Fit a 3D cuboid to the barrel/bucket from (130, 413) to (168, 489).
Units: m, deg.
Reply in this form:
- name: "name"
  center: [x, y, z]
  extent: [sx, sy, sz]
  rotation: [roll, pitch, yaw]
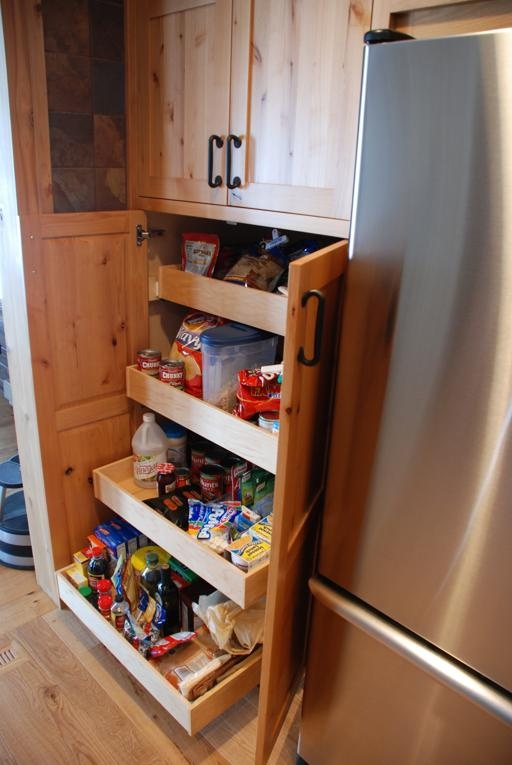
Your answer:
- name: "barrel/bucket"
  center: [-0.326, 0.211, 1.767]
  extent: [0.114, 0.235, 0.113]
  rotation: [0, 18, 0]

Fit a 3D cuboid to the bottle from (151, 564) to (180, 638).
- name: "bottle"
  center: [-0.238, 0.612, 1.550]
  extent: [0.052, 0.221, 0.048]
  rotation: [-2, 10, 0]

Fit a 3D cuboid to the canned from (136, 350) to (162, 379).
- name: "canned"
  center: [-0.308, -0.059, 1.658]
  extent: [0.068, 0.085, 0.073]
  rotation: [-10, 31, -22]

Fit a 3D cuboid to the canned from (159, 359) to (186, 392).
- name: "canned"
  center: [-0.230, -0.024, 1.635]
  extent: [0.072, 0.087, 0.074]
  rotation: [16, 27, 30]
